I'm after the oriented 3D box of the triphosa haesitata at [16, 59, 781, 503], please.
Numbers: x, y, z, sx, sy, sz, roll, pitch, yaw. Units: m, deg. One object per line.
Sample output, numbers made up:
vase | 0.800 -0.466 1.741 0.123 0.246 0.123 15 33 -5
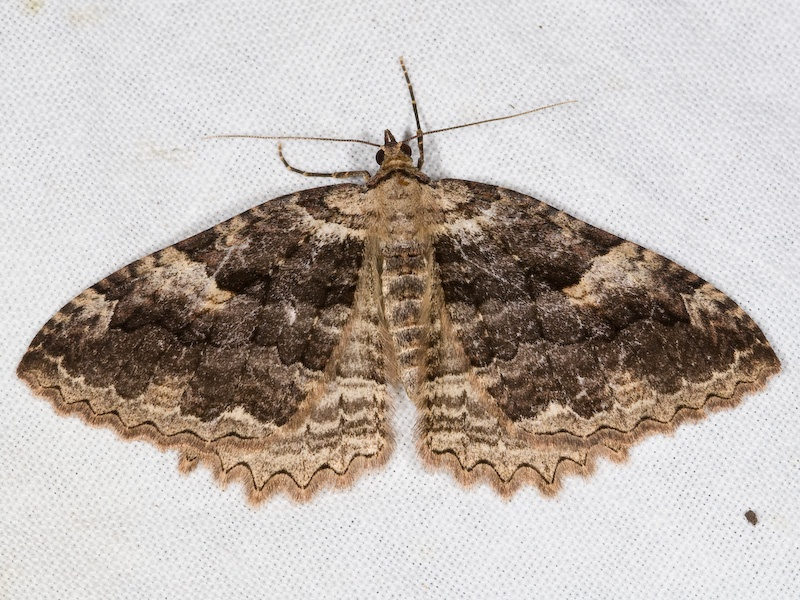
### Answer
triphosa haesitata | 0.058 -0.158 6.564 5.323 3.128 0.320 -2 5 -2
